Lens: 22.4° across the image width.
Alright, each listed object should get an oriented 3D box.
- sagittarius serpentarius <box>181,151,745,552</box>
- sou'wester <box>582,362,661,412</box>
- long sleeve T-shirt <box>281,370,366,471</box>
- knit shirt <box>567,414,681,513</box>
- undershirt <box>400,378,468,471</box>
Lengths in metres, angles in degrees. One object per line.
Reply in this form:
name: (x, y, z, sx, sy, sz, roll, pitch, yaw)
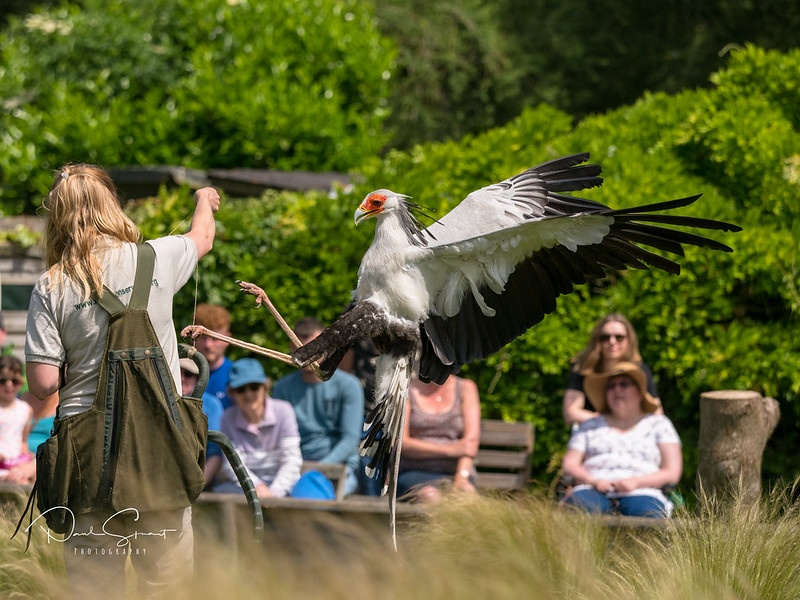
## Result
sagittarius serpentarius: (0.966, -0.103, 17.266, 2.681, 4.691, 2.525, 7, -9, -43)
sou'wester: (2.008, 0.775, 18.011, 0.783, 0.412, 0.497, 2, 3, 21)
long sleeve T-shirt: (-0.702, 1.119, 18.243, 1.090, 0.967, 0.640, 0, -5, 8)
knit shirt: (2.018, 1.437, 17.923, 1.034, 0.780, 0.599, 4, 3, 22)
undershirt: (0.323, 1.165, 17.955, 0.855, 0.949, 0.543, 3, -13, -4)
